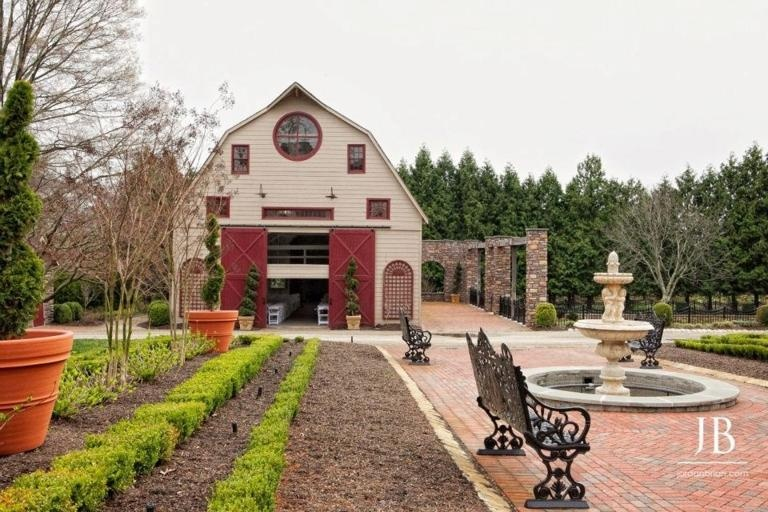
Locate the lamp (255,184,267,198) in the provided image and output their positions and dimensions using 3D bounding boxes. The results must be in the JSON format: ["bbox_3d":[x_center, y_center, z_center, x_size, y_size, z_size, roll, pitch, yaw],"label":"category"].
[{"bbox_3d":[-4.852,-2.538,24.908,0.441,0.849,0.477,0,4,6],"label":"lamp"}]

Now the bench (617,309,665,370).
[{"bbox_3d":[6.184,2.068,15.157,0.582,1.045,1.666,1,-6,6],"label":"bench"}]

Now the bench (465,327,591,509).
[{"bbox_3d":[2.012,2.224,9.117,1.592,2.218,2.007,1,-5,7],"label":"bench"}]

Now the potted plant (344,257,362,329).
[{"bbox_3d":[-1.248,1.449,24.680,0.692,2.817,0.581,2,-4,-1],"label":"potted plant"}]

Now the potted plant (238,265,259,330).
[{"bbox_3d":[-5.237,1.579,24.490,0.754,2.510,0.475,3,-4,-13],"label":"potted plant"}]

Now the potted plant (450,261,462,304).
[{"bbox_3d":[4.873,1.792,42.414,0.768,2.561,0.716,0,-4,18],"label":"potted plant"}]

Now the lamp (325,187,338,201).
[{"bbox_3d":[-2.093,-2.453,25.092,0.475,0.507,0.121,3,-4,-16],"label":"lamp"}]
